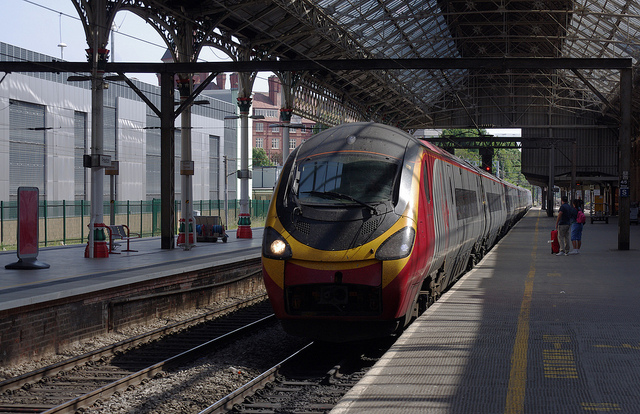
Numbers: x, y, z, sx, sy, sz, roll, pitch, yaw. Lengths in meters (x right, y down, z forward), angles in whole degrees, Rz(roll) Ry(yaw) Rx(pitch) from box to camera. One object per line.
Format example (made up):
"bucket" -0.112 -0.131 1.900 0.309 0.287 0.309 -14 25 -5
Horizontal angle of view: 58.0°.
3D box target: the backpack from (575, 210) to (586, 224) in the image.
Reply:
"backpack" 9.928 0.362 22.034 0.513 0.619 0.502 1 1 28

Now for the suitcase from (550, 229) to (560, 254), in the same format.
"suitcase" 9.030 1.312 22.178 0.354 1.133 0.726 -2 -10 18

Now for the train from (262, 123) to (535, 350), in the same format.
"train" 1.886 0.363 14.032 2.534 4.695 8.295 2 6 26

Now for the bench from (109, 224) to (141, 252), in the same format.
"bench" -7.275 1.165 21.250 0.638 0.980 1.715 5 -1 -1
